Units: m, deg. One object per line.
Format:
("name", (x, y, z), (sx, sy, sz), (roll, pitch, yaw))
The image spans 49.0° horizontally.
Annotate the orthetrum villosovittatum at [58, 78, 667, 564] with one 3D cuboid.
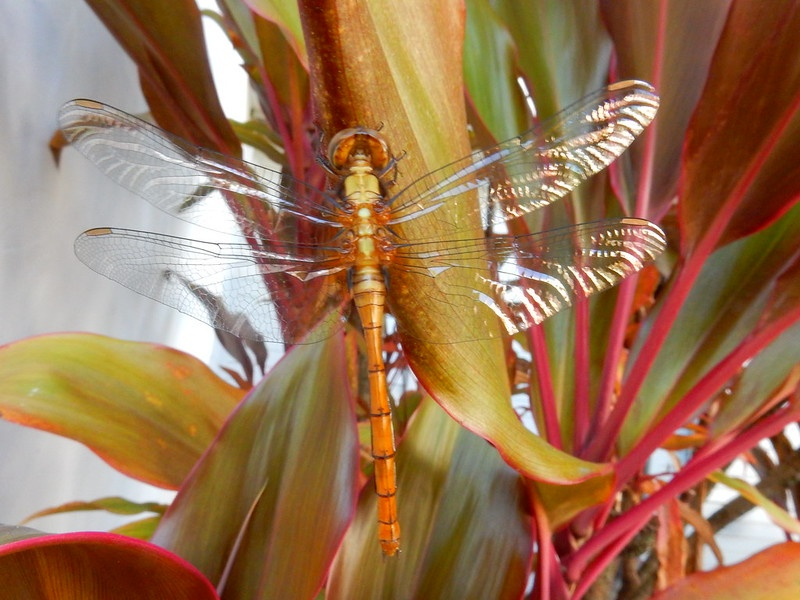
("orthetrum villosovittatum", (-0.037, 0.016, 0.900), (0.628, 0.412, 0.249), (0, -35, 1))
